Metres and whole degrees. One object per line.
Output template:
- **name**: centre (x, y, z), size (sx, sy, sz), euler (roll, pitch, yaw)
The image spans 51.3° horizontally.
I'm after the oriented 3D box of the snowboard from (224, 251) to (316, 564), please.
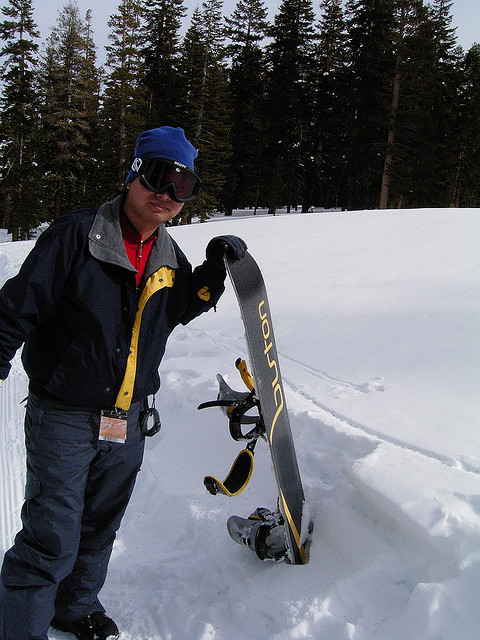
- **snowboard**: centre (0.062, 0.437, 2.538), size (0.164, 1.699, 0.422), euler (-16, -7, 31)
